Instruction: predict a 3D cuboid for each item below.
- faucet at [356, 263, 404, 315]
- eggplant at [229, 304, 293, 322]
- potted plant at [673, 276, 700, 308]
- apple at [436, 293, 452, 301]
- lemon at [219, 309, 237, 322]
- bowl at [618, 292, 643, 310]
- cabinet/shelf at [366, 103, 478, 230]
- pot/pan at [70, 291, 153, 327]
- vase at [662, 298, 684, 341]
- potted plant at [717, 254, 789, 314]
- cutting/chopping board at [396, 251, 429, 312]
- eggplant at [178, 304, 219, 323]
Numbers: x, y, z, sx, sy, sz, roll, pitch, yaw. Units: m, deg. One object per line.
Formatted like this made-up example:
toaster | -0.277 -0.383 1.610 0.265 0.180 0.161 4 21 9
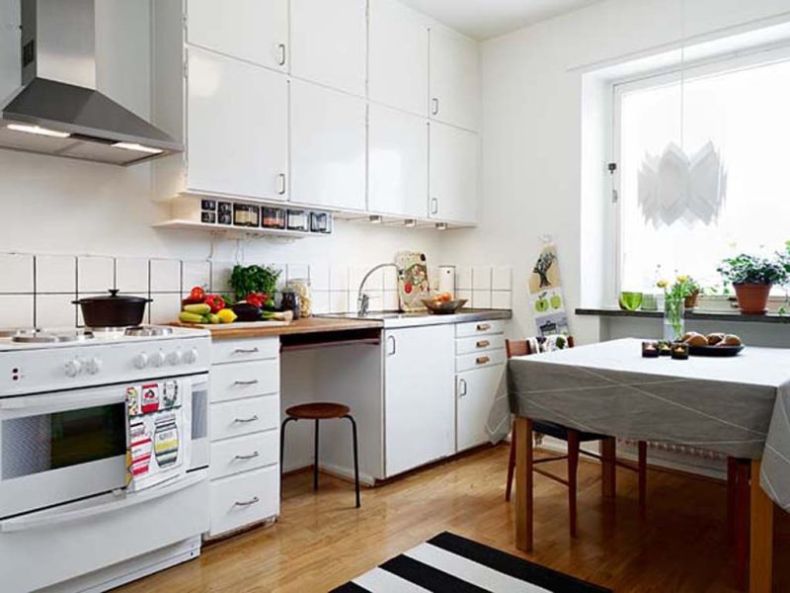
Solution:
faucet | -0.157 -0.063 4.275 0.248 0.359 0.662 1 7 13
eggplant | -0.779 0.101 3.431 0.323 0.104 0.118 0 -3 -24
potted plant | 1.777 -0.023 3.556 0.181 0.148 0.178 -6 7 -26
apple | 0.357 0.002 4.275 0.074 0.037 0.062 -3 -3 -6
lemon | -0.925 0.099 3.218 0.078 0.071 0.067 5 11 29
bowl | 1.647 0.029 4.060 0.112 0.103 0.130 2 6 18
cabinet/shelf | 0.124 -0.905 4.342 1.084 0.780 0.618 -2 6 -43
pot/pan | -1.395 0.070 2.847 0.204 0.121 0.255 -2 -1 20
vase | 1.528 0.117 3.194 0.091 0.243 0.048 1 6 15
potted plant | 2.232 -0.082 3.624 0.326 0.354 0.164 3 7 29
cutting/chopping board | 0.125 -0.117 4.557 0.238 0.465 0.104 -3 -1 -13
eggplant | -1.079 0.094 3.192 0.197 0.087 0.104 2 5 26
